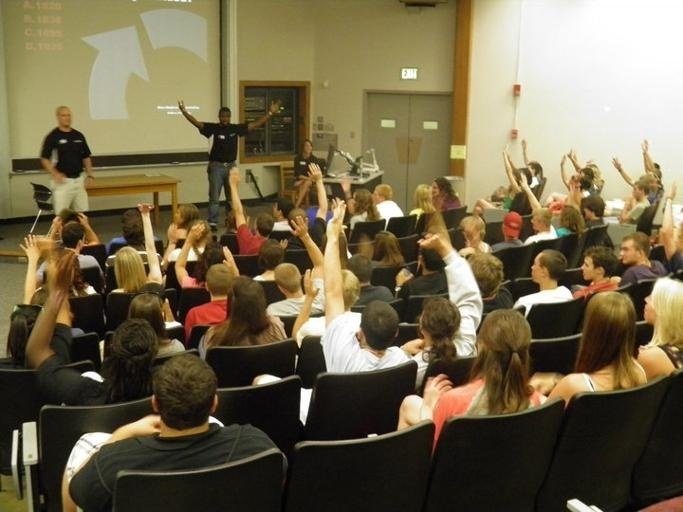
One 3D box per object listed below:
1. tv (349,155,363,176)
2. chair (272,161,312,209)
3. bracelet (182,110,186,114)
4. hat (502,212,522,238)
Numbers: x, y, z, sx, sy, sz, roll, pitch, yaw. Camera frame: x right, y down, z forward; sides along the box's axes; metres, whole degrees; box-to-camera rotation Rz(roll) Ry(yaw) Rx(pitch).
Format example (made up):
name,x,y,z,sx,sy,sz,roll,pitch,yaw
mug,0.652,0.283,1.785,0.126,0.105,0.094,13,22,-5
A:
name,x,y,z,sx,sy,sz,roll,pitch,yaw
tv,0.302,-1.690,10.907,0.352,0.437,0.264,3,8,15
chair,-1.282,-1.390,12.216,0.631,1.069,0.697,1,14,30
bracelet,-2.678,-2.418,9.660,0.060,0.017,0.066,-8,5,-4
hat,1.854,-0.361,6.214,0.182,0.168,0.324,2,49,2
